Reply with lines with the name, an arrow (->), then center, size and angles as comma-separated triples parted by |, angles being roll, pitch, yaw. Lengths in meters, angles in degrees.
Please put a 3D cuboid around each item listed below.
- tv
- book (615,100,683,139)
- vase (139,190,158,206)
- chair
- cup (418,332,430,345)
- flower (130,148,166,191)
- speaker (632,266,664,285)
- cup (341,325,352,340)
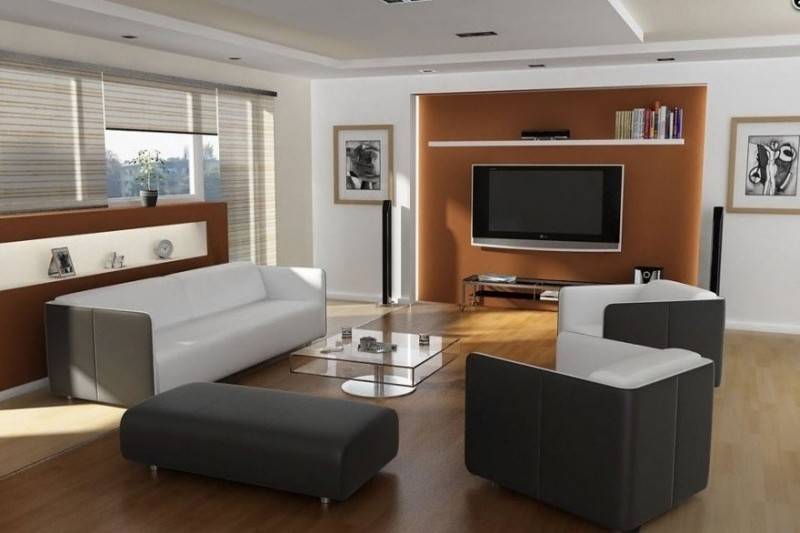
tv -> 1.981, -0.805, 7.787 | 2.124, 1.178, 0.159 | 5, 12, 31
book -> 3.210, -1.878, 7.242 | 0.528, 0.308, 0.202 | 3, 8, 23
vase -> -2.800, -0.758, 6.345 | 0.189, 0.145, 0.184 | 0, 1, -7
chair -> 1.666, 0.880, 4.044 | 1.041, 1.424, 2.058 | 4, -4, -23
cup -> 0.227, 0.674, 5.264 | 0.081, 0.082, 0.088 | 1, 4, 0
flower -> -2.865, -1.118, 6.603 | 0.201, 0.469, 0.430 | 5, 15, 23
speaker -> 3.088, 0.106, 7.041 | 0.229, 0.201, 0.129 | 0, 1, 18
cup -> -0.502, 0.628, 5.399 | 0.107, 0.110, 0.108 | 0, 4, 0
